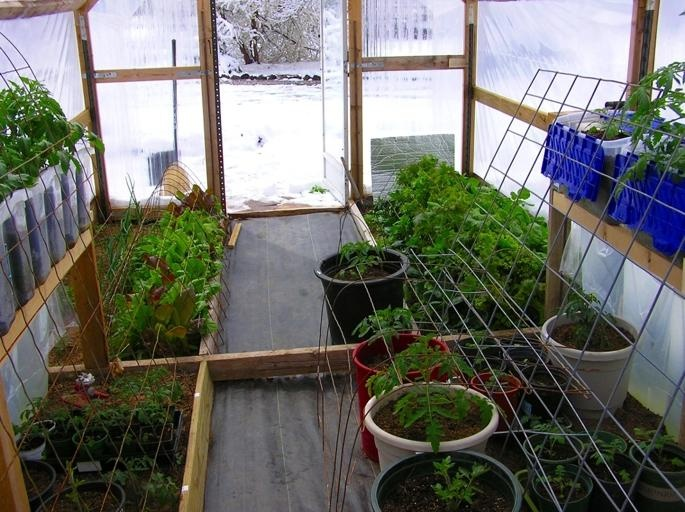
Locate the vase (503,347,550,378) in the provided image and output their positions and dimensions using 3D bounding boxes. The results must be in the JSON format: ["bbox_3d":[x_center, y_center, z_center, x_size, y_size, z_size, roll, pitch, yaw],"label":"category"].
[{"bbox_3d":[0.999,0.586,2.521,0.195,0.079,0.211,-5,31,-5],"label":"vase"}]

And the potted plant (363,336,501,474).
[{"bbox_3d":[0.364,0.716,2.298,0.660,0.573,0.734,-4,27,-3],"label":"potted plant"}]

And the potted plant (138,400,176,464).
[{"bbox_3d":[-0.961,0.914,2.397,0.174,0.215,0.275,-12,25,-28],"label":"potted plant"}]

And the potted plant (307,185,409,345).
[{"bbox_3d":[0.112,0.139,3.418,0.619,1.095,0.653,0,21,16],"label":"potted plant"}]

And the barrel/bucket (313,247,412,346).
[{"bbox_3d":[0.171,0.297,3.254,0.614,0.557,0.688,-4,24,-1],"label":"barrel/bucket"}]

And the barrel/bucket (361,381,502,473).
[{"bbox_3d":[0.351,0.766,2.018,0.494,0.412,0.533,-2,23,1],"label":"barrel/bucket"}]

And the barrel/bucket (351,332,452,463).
[{"bbox_3d":[0.250,0.712,2.744,0.597,0.736,0.696,-3,25,-3],"label":"barrel/bucket"}]

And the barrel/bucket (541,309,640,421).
[{"bbox_3d":[1.415,0.685,2.613,0.382,0.350,0.359,-1,1,0],"label":"barrel/bucket"}]
